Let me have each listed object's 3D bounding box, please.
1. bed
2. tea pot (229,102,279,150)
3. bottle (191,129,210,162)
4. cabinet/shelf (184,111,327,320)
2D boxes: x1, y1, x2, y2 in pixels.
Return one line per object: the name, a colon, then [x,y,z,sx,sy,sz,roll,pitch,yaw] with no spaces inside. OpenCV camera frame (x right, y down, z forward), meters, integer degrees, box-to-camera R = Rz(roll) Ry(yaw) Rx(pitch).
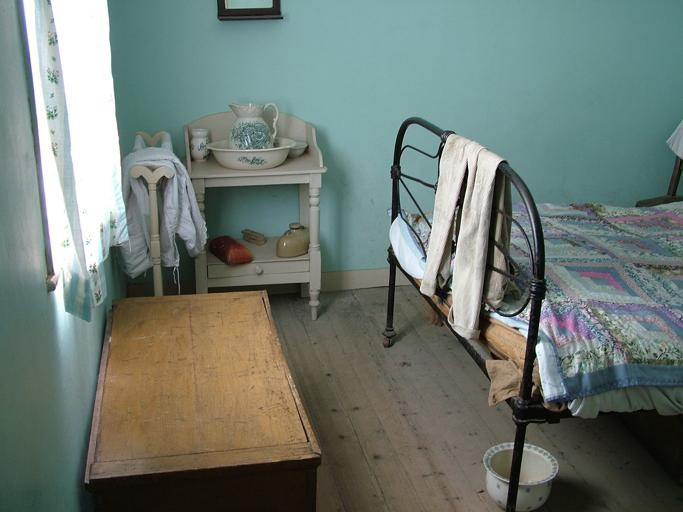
bed: [0.301,0.046,2.266,0.920,1.152,1.568,-4,27,-10]
tea pot: [-0.473,-0.685,2.892,0.288,0.336,0.236,-2,16,-12]
bottle: [-0.767,-0.598,2.934,0.109,0.179,0.117,6,27,-3]
cabinet/shelf: [-0.470,0.005,3.146,0.810,0.481,1.268,-1,56,-15]
